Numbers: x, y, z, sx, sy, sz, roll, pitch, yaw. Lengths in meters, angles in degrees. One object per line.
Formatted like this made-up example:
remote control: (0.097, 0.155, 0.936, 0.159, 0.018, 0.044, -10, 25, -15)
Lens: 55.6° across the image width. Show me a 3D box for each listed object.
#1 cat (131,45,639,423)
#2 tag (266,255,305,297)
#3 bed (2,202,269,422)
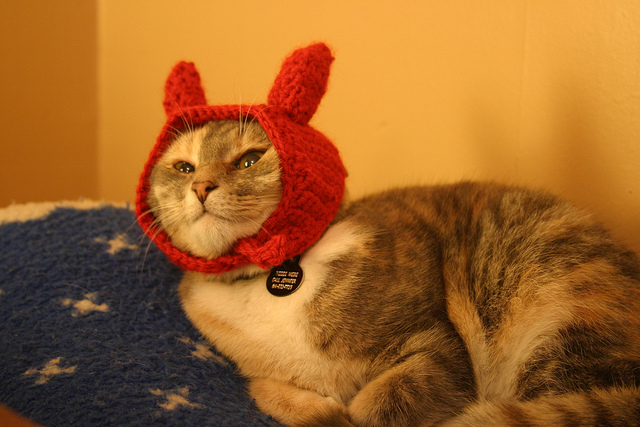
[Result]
cat: (0.146, 0.125, 1.950, 1.447, 0.898, 0.930, -1, -13, -16)
tag: (-0.098, 0.179, 1.740, 0.105, 0.094, 0.088, 1, 26, -10)
bed: (-0.583, 0.230, 1.781, 0.698, 0.636, 0.140, 23, 71, 25)
